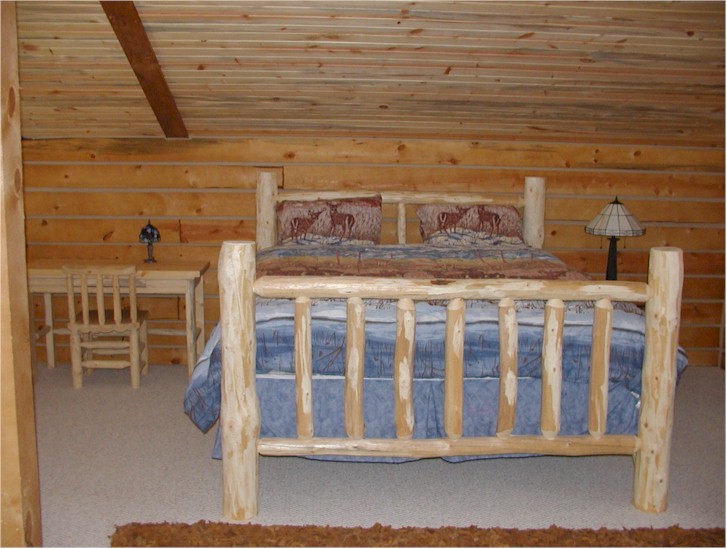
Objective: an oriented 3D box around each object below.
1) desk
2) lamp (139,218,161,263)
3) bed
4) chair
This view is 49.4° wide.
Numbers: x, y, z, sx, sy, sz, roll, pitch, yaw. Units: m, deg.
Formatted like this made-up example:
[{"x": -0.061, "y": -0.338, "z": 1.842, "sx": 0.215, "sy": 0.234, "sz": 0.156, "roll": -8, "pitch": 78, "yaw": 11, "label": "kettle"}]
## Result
[{"x": -1.646, "y": 0.428, "z": 5.375, "sx": 1.512, "sy": 0.888, "sz": 0.704, "roll": 0, "pitch": 3, "yaw": 0, "label": "desk"}, {"x": -1.504, "y": -0.228, "z": 5.552, "sx": 0.144, "sy": 0.329, "sz": 0.263, "roll": -2, "pitch": -9, "yaw": -15, "label": "lamp"}, {"x": 0.328, "y": 0.246, "z": 4.664, "sx": 2.093, "sy": 0.998, "sz": 2.052, "roll": 0, "pitch": 21, "yaw": 0, "label": "bed"}, {"x": -1.710, "y": 0.375, "z": 5.295, "sx": 0.500, "sy": 0.781, "sz": 0.822, "roll": -1, "pitch": -9, "yaw": -15, "label": "chair"}]
